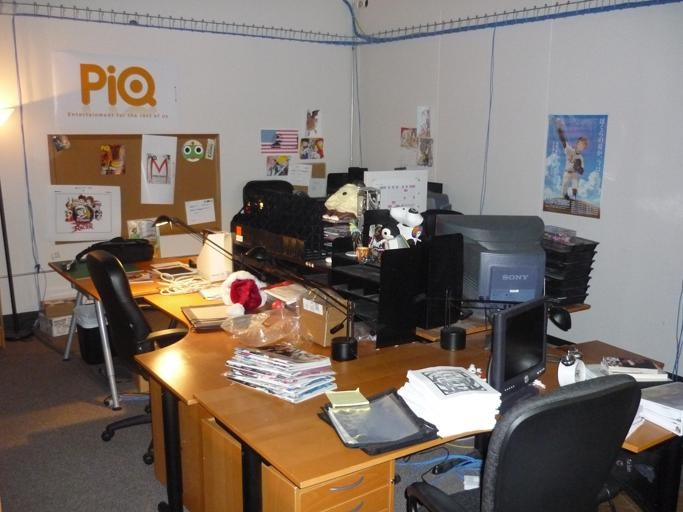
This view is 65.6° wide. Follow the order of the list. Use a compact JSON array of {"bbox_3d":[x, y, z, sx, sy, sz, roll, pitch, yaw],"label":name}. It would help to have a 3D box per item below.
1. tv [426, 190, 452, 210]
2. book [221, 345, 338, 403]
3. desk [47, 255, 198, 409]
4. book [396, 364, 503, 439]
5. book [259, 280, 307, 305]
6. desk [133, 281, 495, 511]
[{"bbox_3d":[1.013,-0.571,5.541,0.231,0.186,0.505,5,14,27],"label":"tv"},{"bbox_3d":[-0.267,0.573,2.622,0.275,0.134,0.366,5,6,30],"label":"book"},{"bbox_3d":[-1.719,0.401,4.373,1.006,1.076,1.393,-5,12,-41],"label":"desk"},{"bbox_3d":[0.503,0.635,2.363,0.282,0.146,0.292,-7,17,-31],"label":"book"},{"bbox_3d":[-0.377,0.251,3.539,0.171,0.050,0.178,-19,28,-40],"label":"book"},{"bbox_3d":[-0.099,0.676,2.678,1.176,0.749,1.174,-12,18,-38],"label":"desk"}]
